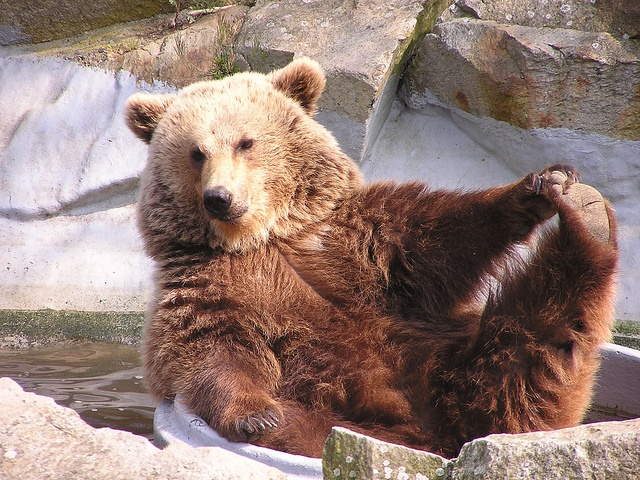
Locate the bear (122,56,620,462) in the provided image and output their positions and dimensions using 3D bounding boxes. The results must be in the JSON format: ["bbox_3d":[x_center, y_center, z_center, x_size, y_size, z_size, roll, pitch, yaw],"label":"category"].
[{"bbox_3d":[-0.025,0.171,6.444,2.032,2.000,3.060,-15,-13,19],"label":"bear"}]
